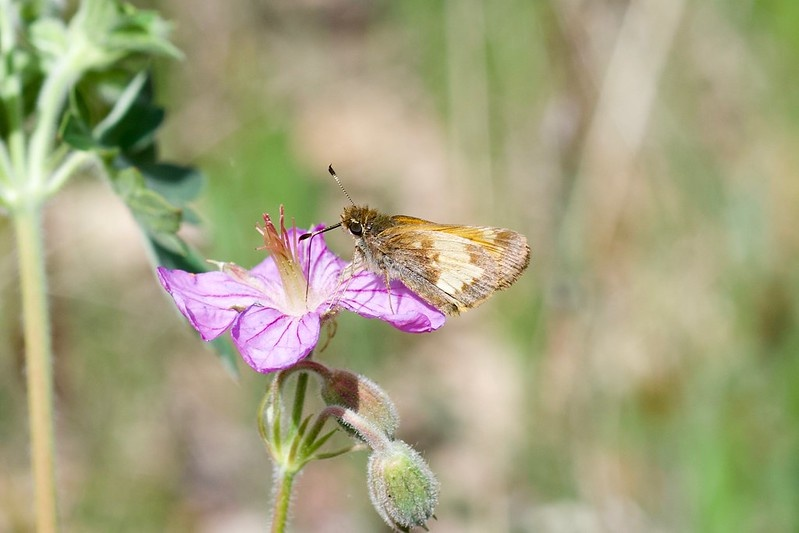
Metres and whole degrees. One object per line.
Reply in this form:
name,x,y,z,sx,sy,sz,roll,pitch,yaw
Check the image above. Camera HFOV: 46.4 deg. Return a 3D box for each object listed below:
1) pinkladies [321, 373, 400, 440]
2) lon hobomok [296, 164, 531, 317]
pinkladies,-0.172,0.591,4.042,0.348,0.219,0.178,15,61,11
lon hobomok,0.055,0.011,4.516,1.023,0.570,0.669,17,87,6
